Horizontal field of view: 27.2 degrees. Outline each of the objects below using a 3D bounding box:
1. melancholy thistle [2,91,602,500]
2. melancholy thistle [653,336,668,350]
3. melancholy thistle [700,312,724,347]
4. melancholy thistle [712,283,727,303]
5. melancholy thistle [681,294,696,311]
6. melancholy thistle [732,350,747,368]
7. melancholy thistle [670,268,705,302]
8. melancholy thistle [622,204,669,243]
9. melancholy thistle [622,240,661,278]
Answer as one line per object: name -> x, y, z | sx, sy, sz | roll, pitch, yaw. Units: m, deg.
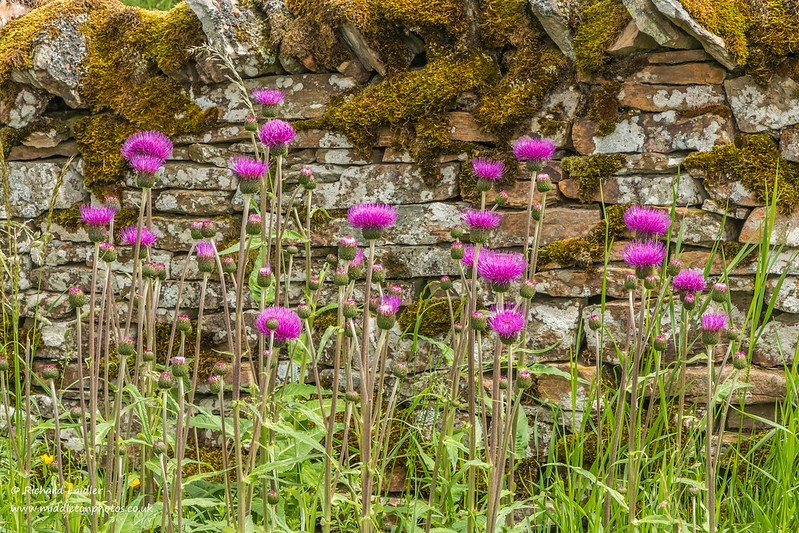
melancholy thistle -> -0.450, 0.290, 9.557 | 2.378, 2.444, 2.462 | 12, 9, 14
melancholy thistle -> 1.396, 0.402, 8.815 | 0.064, 0.088, 0.076 | -1, 1, 2
melancholy thistle -> 1.638, 0.321, 8.701 | 0.148, 0.199, 0.155 | 2, -4, 28
melancholy thistle -> 1.708, 0.134, 8.797 | 0.081, 0.120, 0.090 | 0, 8, -7
melancholy thistle -> 1.526, 0.181, 8.686 | 0.065, 0.096, 0.071 | 2, -6, -16
melancholy thistle -> 1.815, 0.485, 8.800 | 0.069, 0.098, 0.082 | 1, -8, 5
melancholy thistle -> 1.543, 0.094, 8.818 | 0.146, 0.165, 0.156 | 0, -11, -2
melancholy thistle -> 1.332, -0.241, 8.892 | 0.205, 0.197, 0.219 | 5, 0, 1
melancholy thistle -> 1.312, -0.074, 8.780 | 0.188, 0.190, 0.191 | -9, 12, -34
